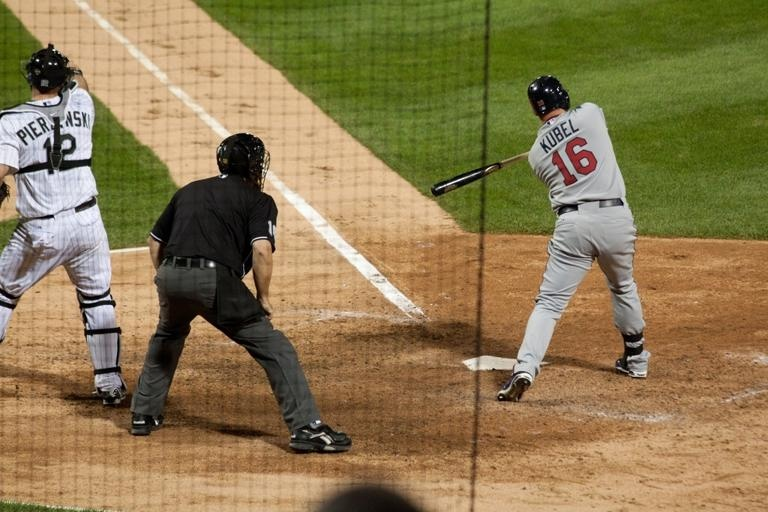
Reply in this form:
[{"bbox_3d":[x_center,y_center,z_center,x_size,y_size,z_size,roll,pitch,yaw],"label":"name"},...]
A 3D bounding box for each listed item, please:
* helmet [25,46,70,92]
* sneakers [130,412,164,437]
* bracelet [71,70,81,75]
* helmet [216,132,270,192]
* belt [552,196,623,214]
[{"bbox_3d":[-3.382,-1.901,12.710,0.452,0.425,0.475,4,50,-14],"label":"helmet"},{"bbox_3d":[-2.370,1.657,12.476,0.157,0.232,0.361,4,11,19],"label":"sneakers"},{"bbox_3d":[-3.192,-1.918,13.034,0.085,0.041,0.093,-1,2,-3],"label":"bracelet"},{"bbox_3d":[-1.471,-0.949,12.474,0.647,0.519,0.511,0,6,-40],"label":"helmet"},{"bbox_3d":[2.118,-0.516,12.965,0.690,0.197,0.146,-2,35,5],"label":"belt"}]
